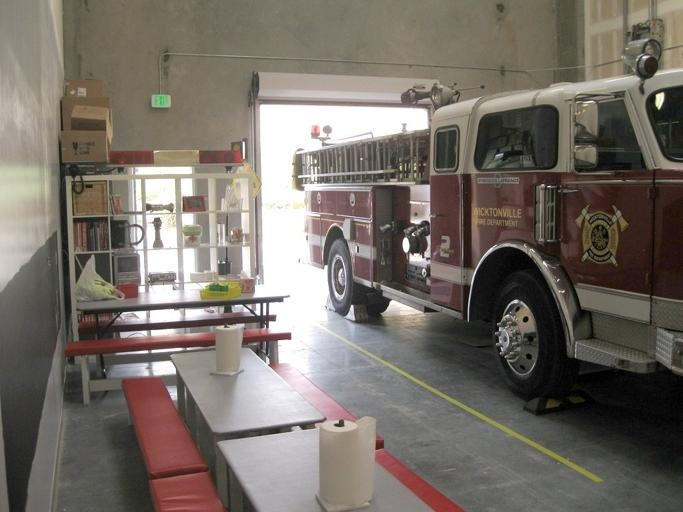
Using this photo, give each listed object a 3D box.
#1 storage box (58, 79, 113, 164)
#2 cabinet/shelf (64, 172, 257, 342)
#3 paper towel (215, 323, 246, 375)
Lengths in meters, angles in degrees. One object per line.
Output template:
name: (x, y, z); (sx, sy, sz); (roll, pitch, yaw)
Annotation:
storage box: (-3.787, -1.953, 8.311); (0.549, 0.547, 1.660); (3, 49, -23)
cabinet/shelf: (-2.579, -0.002, 7.995); (2.502, 2.563, 0.758); (-4, 5, -43)
paper towel: (-0.907, 0.727, 4.478); (0.291, 0.373, 0.260); (0, 0, -17)
